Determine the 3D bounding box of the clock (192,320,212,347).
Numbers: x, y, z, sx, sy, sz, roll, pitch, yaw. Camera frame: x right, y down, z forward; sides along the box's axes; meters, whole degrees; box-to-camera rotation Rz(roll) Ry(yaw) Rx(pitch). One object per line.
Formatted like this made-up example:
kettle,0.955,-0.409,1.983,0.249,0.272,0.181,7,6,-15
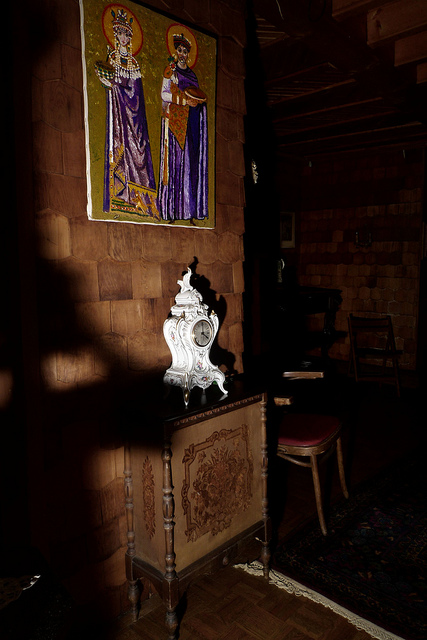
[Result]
clock,-0.043,0.051,1.947,0.018,0.099,0.125,2,6,26

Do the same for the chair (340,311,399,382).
chair,1.693,0.339,5.505,0.586,0.772,0.601,-1,3,-35

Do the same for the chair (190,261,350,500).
chair,0.391,0.452,2.751,0.524,0.952,0.516,-3,5,20

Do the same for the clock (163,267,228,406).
clock,-0.077,0.045,1.949,0.253,0.465,0.266,-5,7,-37

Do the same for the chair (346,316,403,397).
chair,1.677,0.353,5.497,0.547,0.786,0.783,1,6,15
